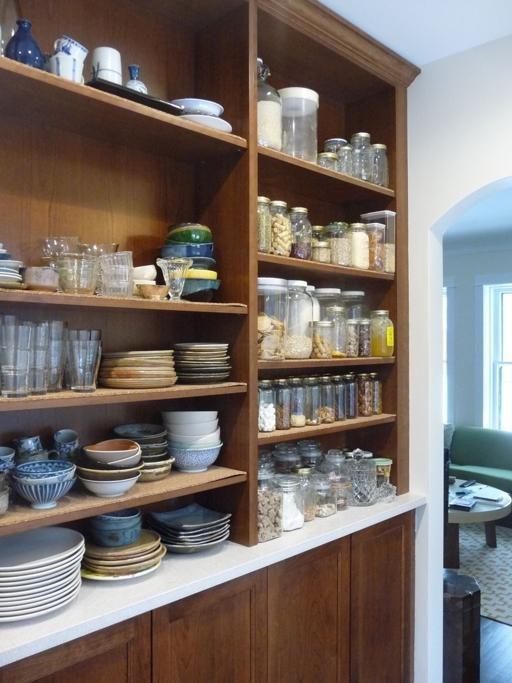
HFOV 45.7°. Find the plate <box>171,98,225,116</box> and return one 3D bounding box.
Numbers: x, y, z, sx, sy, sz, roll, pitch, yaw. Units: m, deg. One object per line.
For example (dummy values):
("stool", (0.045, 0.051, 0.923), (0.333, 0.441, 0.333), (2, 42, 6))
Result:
("plate", (-0.163, -0.678, 1.765), (0.095, 0.025, 0.100), (9, 12, 38))

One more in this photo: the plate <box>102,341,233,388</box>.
("plate", (-0.230, 0.067, 1.746), (0.155, 0.121, 0.434), (2, 3, 41))

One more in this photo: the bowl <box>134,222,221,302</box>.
("bowl", (-0.226, -0.226, 1.819), (0.211, 0.226, 0.231), (-1, -4, 0))

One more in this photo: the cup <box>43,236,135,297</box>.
("cup", (-0.401, -0.175, 1.479), (0.145, 0.083, 0.201), (1, 2, 34))

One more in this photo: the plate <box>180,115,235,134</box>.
("plate", (-0.141, -0.619, 1.734), (0.101, 0.014, 0.105), (10, 11, 34))
